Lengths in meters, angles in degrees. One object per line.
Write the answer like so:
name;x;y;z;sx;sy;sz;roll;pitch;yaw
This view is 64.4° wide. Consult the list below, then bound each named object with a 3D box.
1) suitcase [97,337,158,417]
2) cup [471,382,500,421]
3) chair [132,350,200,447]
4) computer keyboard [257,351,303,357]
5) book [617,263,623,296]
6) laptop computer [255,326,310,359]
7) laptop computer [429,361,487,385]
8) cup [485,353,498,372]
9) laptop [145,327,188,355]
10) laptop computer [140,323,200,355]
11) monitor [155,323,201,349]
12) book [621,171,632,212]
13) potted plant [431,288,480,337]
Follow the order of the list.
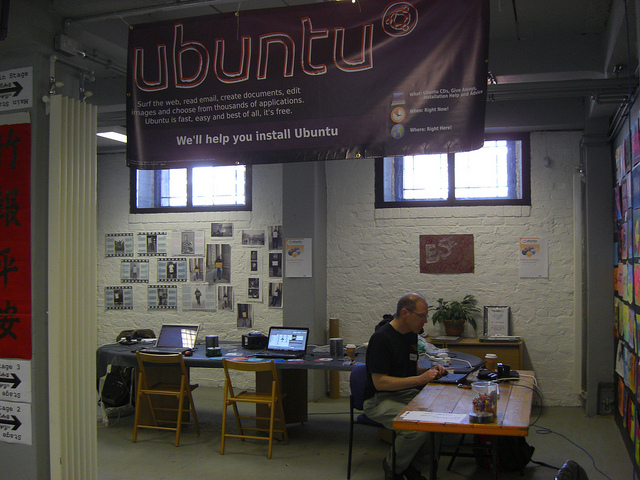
suitcase;-2.636;1.986;7.180;1.007;0.731;0.935;1;-17;-6
cup;1.215;1.168;3.740;0.246;0.247;0.230;0;-1;0
chair;-1.888;1.910;6.384;0.845;1.037;0.913;-7;-13;40
computer keyboard;-0.511;1.416;6.344;0.562;0.035;0.215;-1;-1;26
book;3.753;0.497;6.363;0.015;0.419;0.631;-1;-1;26
laptop computer;-0.477;1.285;6.363;0.616;0.319;0.478;-1;1;12
laptop computer;1.299;1.309;4.869;0.303;0.097;0.618;-1;-1;33
cup;1.733;1.243;5.200;0.145;0.191;0.133;-1;-2;0
laptop;-1.988;1.301;6.685;0.366;0.213;0.315;0;-5;15
laptop computer;-1.953;1.280;6.596;0.636;0.288;0.544;-2;-2;25
monitor;-1.882;1.273;6.866;0.472;0.232;0.333;0;-5;7
book;3.478;-0.541;5.775;0.036;0.372;0.906;-1;-1;27
potted plant;2.026;1.182;7.811;0.628;0.617;0.736;9;-11;-32
